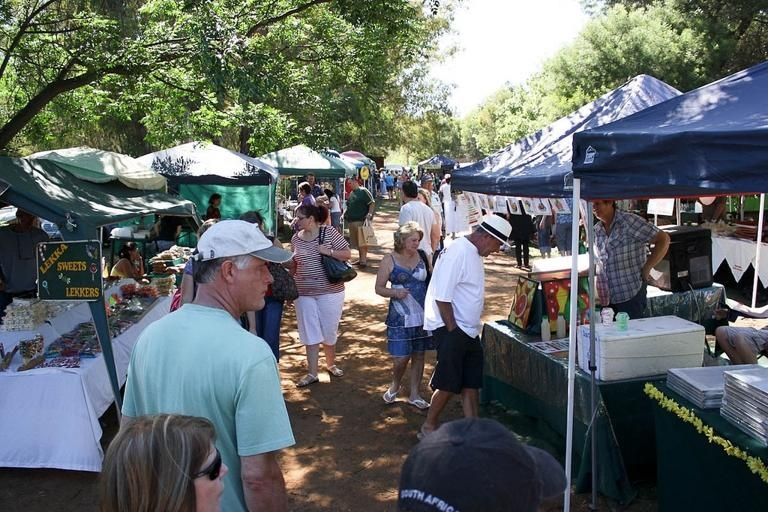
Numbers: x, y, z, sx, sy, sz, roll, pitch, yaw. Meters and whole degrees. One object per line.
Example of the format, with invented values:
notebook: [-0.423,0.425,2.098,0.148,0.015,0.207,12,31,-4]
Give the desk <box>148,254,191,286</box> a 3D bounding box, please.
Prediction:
desk: [-3.368,0.232,9.041,0.496,0.253,0.507,0,2,-4]

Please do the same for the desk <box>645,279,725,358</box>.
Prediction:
desk: [4.119,1.011,7.913,1.084,0.625,1.117,5,14,27]

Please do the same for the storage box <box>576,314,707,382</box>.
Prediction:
storage box: [2.476,0.901,5.534,1.130,0.483,0.430,-2,12,-1]

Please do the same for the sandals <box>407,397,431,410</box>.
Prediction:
sandals: [0.439,1.798,7.121,0.212,0.073,0.121,4,3,41]

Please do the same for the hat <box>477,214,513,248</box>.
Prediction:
hat: [1.137,-0.255,5.954,0.302,0.329,0.320,1,12,10]

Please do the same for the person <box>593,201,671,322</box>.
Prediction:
person: [2.779,0.030,6.605,0.801,1.317,0.470,4,13,24]

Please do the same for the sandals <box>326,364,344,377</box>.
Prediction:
sandals: [-0.687,1.612,8.144,0.123,0.077,0.245,-4,6,-27]

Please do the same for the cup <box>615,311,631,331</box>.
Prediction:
cup: [2.301,0.629,5.613,0.155,0.191,0.158,-1,4,0]

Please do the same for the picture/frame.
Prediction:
picture/frame: [1.906,0.507,6.687,0.841,0.617,0.716,-1,7,-1]

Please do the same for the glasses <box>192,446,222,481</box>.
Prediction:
glasses: [-0.924,1.094,3.061,0.144,0.045,0.148,-15,8,7]

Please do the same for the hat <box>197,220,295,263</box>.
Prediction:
hat: [-0.873,-0.074,3.639,0.446,0.183,0.297,3,5,-20]

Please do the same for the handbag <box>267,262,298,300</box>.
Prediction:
handbag: [-1.145,0.330,6.728,0.407,0.577,0.216,6,14,10]

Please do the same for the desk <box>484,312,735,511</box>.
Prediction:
desk: [1.915,1.517,6.177,1.640,0.629,1.661,-2,17,-9]

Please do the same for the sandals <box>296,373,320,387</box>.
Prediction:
sandals: [-1.017,1.682,7.867,0.127,0.123,0.302,-2,-3,35]
